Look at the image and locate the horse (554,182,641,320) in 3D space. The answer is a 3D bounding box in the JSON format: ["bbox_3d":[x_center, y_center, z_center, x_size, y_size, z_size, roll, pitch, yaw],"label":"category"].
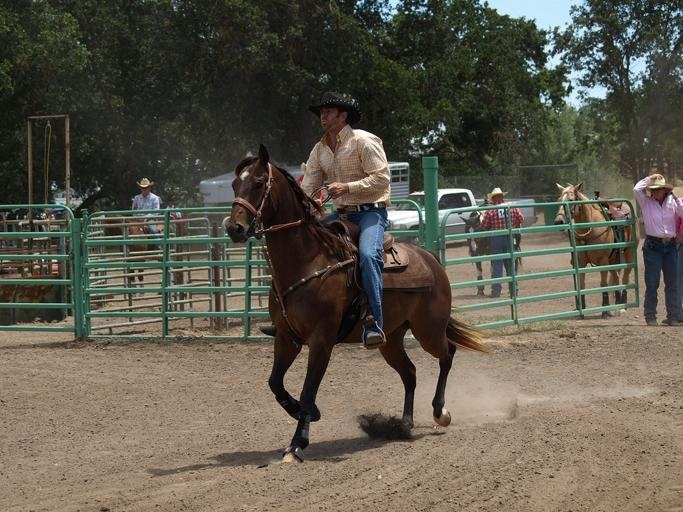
[{"bbox_3d":[4.878,-0.135,17.841,1.187,2.566,2.309,-3,0,30],"label":"horse"}]

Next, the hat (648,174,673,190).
[{"bbox_3d":[5.703,-1.350,16.972,0.307,0.142,0.353,-1,-4,17],"label":"hat"}]
